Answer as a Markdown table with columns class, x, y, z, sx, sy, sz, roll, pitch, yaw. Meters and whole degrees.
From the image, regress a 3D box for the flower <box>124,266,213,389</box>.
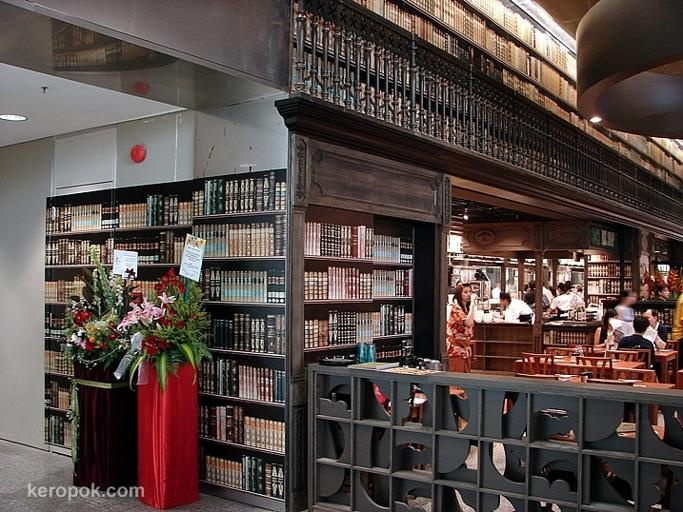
| class | x | y | z | sx | sy | sz | roll | pitch | yaw |
| --- | --- | --- | --- | --- | --- | --- | --- | --- | --- |
| flower | -1.817 | 0.713 | 6.253 | 1.009 | 1.413 | 1.006 | -1 | -3 | 2 |

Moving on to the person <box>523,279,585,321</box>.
| class | x | y | z | sx | sy | sz | roll | pitch | yaw |
| --- | --- | --- | --- | --- | --- | --- | --- | --- | --- |
| person | 5.454 | 1.107 | 14.956 | 1.017 | 0.538 | 1.358 | -1 | 2 | -42 |

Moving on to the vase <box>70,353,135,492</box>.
| class | x | y | z | sx | sy | sz | roll | pitch | yaw |
| --- | --- | --- | --- | --- | --- | --- | --- | --- | --- |
| vase | -2.432 | 1.741 | 6.082 | 0.636 | 1.231 | 0.246 | 0 | -4 | 13 |

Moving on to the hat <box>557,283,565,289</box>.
| class | x | y | z | sx | sy | sz | roll | pitch | yaw |
| --- | --- | --- | --- | --- | --- | --- | --- | --- | --- |
| hat | 5.783 | 0.778 | 15.605 | 0.139 | 0.146 | 0.151 | -8 | -4 | 32 |

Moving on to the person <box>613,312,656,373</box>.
| class | x | y | z | sx | sy | sz | roll | pitch | yaw |
| --- | --- | --- | --- | --- | --- | --- | --- | --- | --- |
| person | 4.478 | 1.342 | 9.013 | 0.528 | 0.939 | 0.455 | 6 | 16 | 12 |

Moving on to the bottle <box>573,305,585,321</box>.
| class | x | y | z | sx | sy | sz | roll | pitch | yaw |
| --- | --- | --- | --- | --- | --- | --- | --- | --- | --- |
| bottle | 5.403 | 1.281 | 13.408 | 0.243 | 0.313 | 0.341 | -1 | -4 | 23 |

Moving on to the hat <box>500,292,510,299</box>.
| class | x | y | z | sx | sy | sz | roll | pitch | yaw |
| --- | --- | --- | --- | --- | --- | --- | --- | --- | --- |
| hat | 3.879 | 0.887 | 13.994 | 0.159 | 0.214 | 0.201 | 8 | -19 | -3 |

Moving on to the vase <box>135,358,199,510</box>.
| class | x | y | z | sx | sy | sz | roll | pitch | yaw |
| --- | --- | --- | --- | --- | --- | --- | --- | --- | --- |
| vase | -1.657 | 1.706 | 5.665 | 0.578 | 1.341 | 0.345 | 2 | -4 | -16 |
